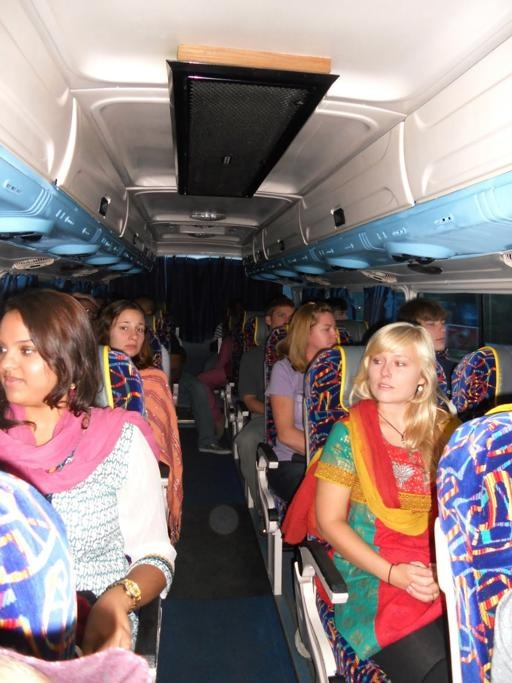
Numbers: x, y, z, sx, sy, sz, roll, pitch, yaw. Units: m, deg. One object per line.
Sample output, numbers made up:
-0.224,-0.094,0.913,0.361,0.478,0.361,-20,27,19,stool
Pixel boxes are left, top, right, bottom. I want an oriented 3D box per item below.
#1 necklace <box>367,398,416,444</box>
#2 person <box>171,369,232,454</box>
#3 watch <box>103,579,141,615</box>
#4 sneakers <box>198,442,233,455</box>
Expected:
0.536,0.312,1.808,0.125,0.159,0.065,1,-11,-11,necklace
-0.639,0.820,5.482,0.349,0.271,1.049,-13,47,-5,person
-0.308,0.587,1.102,0.063,0.079,0.080,-24,-15,12,watch
-0.472,1.219,5.333,0.377,0.138,0.135,-1,-7,8,sneakers
